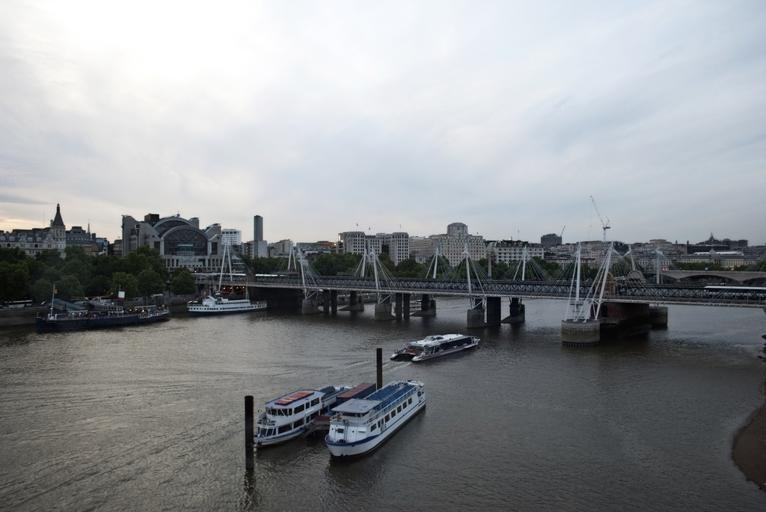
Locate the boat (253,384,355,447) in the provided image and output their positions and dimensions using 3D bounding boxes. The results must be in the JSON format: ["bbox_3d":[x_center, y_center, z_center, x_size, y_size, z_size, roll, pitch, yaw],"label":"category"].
[{"bbox_3d":[-5.630,10.997,39.095,2.097,1.847,7.465,-1,-1,29],"label":"boat"}]

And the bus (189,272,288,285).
[{"bbox_3d":[-29.106,4.366,109.654,18.436,1.955,2.417,1,-4,5],"label":"bus"}]

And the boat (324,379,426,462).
[{"bbox_3d":[-0.418,10.810,38.430,2.896,2.734,9.505,8,15,34],"label":"boat"}]

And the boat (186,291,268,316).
[{"bbox_3d":[-23.338,7.823,93.509,19.418,5.320,4.297,4,-6,-40],"label":"boat"}]

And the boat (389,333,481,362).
[{"bbox_3d":[5.445,9.540,57.050,9.789,1.577,2.979,-9,16,-34],"label":"boat"}]
